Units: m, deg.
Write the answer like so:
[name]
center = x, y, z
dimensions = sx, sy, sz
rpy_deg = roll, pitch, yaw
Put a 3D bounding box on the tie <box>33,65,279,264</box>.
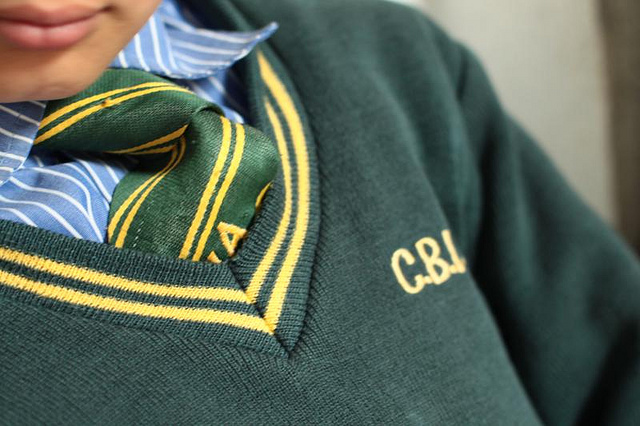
[tie]
center = -0.101, -0.029, 0.458
dimensions = 0.165, 0.069, 0.116
rpy_deg = 9, 65, 3
